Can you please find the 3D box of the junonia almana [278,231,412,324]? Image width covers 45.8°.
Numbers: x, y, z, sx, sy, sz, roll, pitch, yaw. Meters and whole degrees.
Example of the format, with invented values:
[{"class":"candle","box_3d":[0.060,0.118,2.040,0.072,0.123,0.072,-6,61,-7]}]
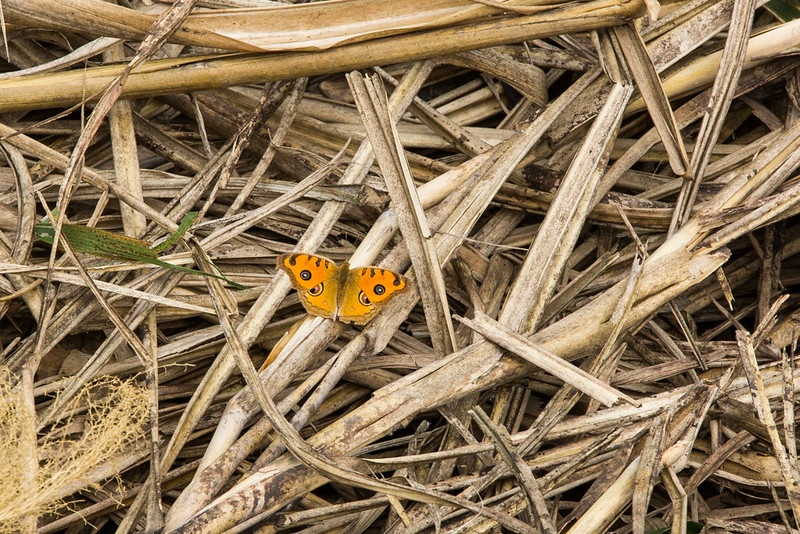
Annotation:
[{"class":"junonia almana","box_3d":[-0.177,0.067,2.737,0.381,0.101,0.177,14,80,0]}]
